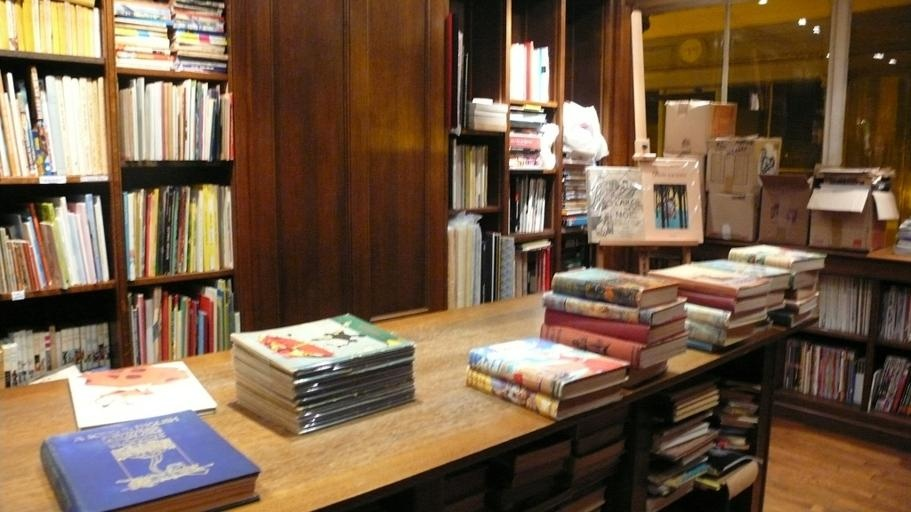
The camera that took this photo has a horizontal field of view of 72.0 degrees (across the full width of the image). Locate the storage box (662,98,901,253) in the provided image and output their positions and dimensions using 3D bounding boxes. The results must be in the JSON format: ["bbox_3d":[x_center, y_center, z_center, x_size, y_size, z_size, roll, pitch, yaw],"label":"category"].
[{"bbox_3d":[2.490,-0.663,4.903,1.597,1.137,0.396,7,16,39],"label":"storage box"}]

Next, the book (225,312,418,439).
[{"bbox_3d":[-0.590,0.413,2.568,0.510,0.213,0.494,-6,12,-32],"label":"book"}]
